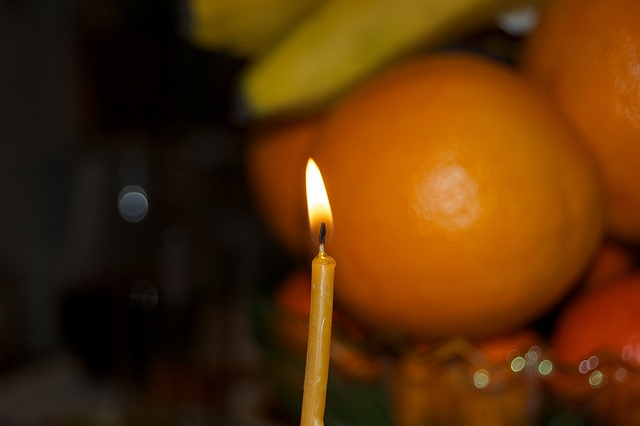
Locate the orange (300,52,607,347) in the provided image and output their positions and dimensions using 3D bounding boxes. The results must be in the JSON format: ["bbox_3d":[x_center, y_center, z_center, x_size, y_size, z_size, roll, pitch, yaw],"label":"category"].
[{"bbox_3d":[0.109,-0.006,0.676,0.242,0.260,0.234,-34,-39,13],"label":"orange"}]
